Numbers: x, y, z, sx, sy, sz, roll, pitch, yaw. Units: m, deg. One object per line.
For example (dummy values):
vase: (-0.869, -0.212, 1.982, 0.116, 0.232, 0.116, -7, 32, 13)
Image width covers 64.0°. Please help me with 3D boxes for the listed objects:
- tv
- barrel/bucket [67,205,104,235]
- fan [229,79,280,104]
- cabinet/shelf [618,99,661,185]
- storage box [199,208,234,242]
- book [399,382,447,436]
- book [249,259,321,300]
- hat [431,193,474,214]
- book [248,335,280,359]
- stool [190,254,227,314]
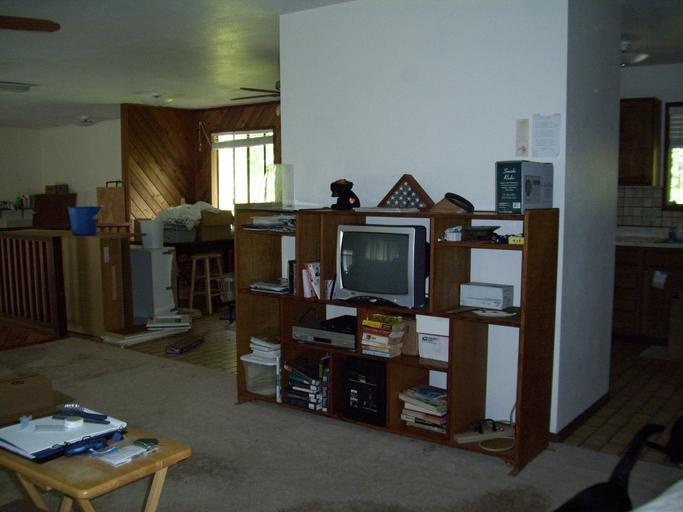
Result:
tv: (0.361, 0.067, 4.144, 0.736, 0.591, 0.424, 4, 6, 42)
barrel/bucket: (-3.155, -0.423, 6.745, 0.333, 0.338, 0.444, -5, 10, -25)
fan: (-1.341, -2.556, 8.741, 0.787, 0.210, 2.527, -2, 9, -11)
cabinet/shelf: (3.500, -1.345, 6.502, 0.410, 1.015, 0.189, 2, 10, 11)
storage box: (-2.019, -0.506, 8.426, 0.459, 0.503, 0.721, 5, 8, 34)
book: (0.590, 1.110, 3.975, 0.376, 0.172, 0.273, 3, 0, -41)
book: (-0.409, 0.178, 4.384, 0.444, 0.199, 0.318, 1, 5, 20)
hat: (0.780, -0.354, 3.814, 0.150, 0.104, 0.245, -6, 6, -43)
book: (-0.632, 0.763, 4.536, 0.194, 0.079, 0.188, 8, 6, 26)
stool: (-1.980, 0.396, 8.109, 0.596, 0.777, 0.554, -1, 4, 0)
